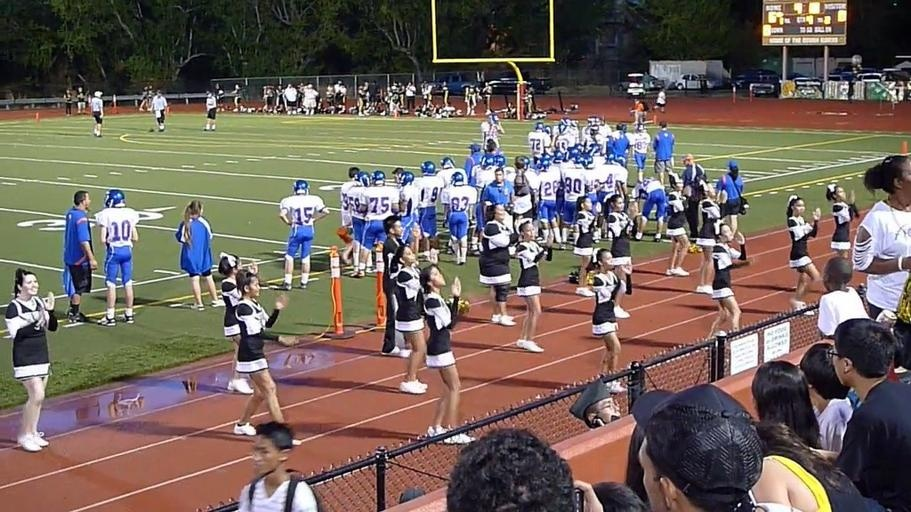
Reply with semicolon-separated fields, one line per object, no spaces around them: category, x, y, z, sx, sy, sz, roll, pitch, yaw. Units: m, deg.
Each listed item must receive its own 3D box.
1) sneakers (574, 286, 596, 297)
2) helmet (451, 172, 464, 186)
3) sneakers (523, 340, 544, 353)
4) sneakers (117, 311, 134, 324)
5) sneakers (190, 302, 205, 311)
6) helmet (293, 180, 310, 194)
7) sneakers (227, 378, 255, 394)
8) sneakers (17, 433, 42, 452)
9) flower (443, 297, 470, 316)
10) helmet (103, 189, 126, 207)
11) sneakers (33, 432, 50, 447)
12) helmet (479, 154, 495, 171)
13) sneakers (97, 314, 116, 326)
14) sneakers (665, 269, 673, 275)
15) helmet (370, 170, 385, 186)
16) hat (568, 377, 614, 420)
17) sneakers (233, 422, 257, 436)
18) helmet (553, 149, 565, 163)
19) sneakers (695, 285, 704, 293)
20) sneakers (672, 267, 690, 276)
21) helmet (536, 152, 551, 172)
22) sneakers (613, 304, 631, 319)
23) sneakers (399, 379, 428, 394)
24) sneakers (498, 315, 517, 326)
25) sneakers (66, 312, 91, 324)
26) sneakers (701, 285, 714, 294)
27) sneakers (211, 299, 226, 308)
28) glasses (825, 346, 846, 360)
sneakers;2.863;0.783;18.252;0.352;0.143;0.178;1;10;27
helmet;0.054;-1.917;20.341;0.338;0.283;0.251;10;14;36
sneakers;1.444;1.686;15.431;0.336;0.137;0.205;8;12;35
sneakers;-6.785;1.211;17.024;0.213;0.281;0.365;-6;11;-23
sneakers;-5.538;1.066;17.675;0.264;0.159;0.259;-5;10;-13
helmet;-3.591;-1.597;18.900;0.361;0.426;0.395;2;1;-4
sneakers;-3.699;2.241;14.240;0.538;0.230;0.203;2;4;22
sneakers;-6.497;2.861;12.543;0.366;0.145;0.196;28;33;10
flower;-0.053;0.951;16.463;0.609;0.438;0.609;2;-2;-17
helmet;-7.044;-1.192;16.961;0.303;0.329;0.343;-5;10;-16
sneakers;-6.403;2.814;12.700;0.378;0.154;0.131;11;9;27
helmet;0.863;-2.621;22.830;0.319;0.419;0.423;-1;39;-4
sneakers;-7.155;1.301;16.868;0.382;0.225;0.287;-3;10;-6
sneakers;5.006;0.369;19.387;0.137;0.155;0.350;-2;-1;3
helmet;-1.807;-1.840;19.321;0.301;0.335;0.369;-9;20;-33
hat;1.487;1.649;9.423;0.476;0.252;0.385;-33;-12;9
sneakers;-3.356;2.699;12.972;0.417;0.209;0.202;-1;10;8
helmet;2.942;-2.836;23.394;0.311;0.348;0.423;-2;5;-3
sneakers;5.361;0.721;18.170;0.157;0.080;0.228;1;8;15
sneakers;5.244;0.360;19.312;0.335;0.142;0.195;6;10;33
helmet;2.313;-2.567;22.130;0.364;0.427;0.475;-1;8;2
sneakers;3.428;1.114;16.998;0.292;0.220;0.628;0;10;10
sneakers;-0.722;2.226;13.988;0.331;0.123;0.257;3;4;6
sneakers;1.032;1.273;16.603;0.334;0.133;0.190;7;11;33
sneakers;-7.815;1.248;17.045;0.461;0.205;0.279;-4;10;-11
sneakers;5.561;0.712;18.105;0.164;0.193;0.460;4;10;42
sneakers;-5.143;1.014;17.840;0.409;0.177;0.175;-5;11;-14
glasses;4.160;1.071;9.004;0.193;0.063;0.182;-2;7;-18
